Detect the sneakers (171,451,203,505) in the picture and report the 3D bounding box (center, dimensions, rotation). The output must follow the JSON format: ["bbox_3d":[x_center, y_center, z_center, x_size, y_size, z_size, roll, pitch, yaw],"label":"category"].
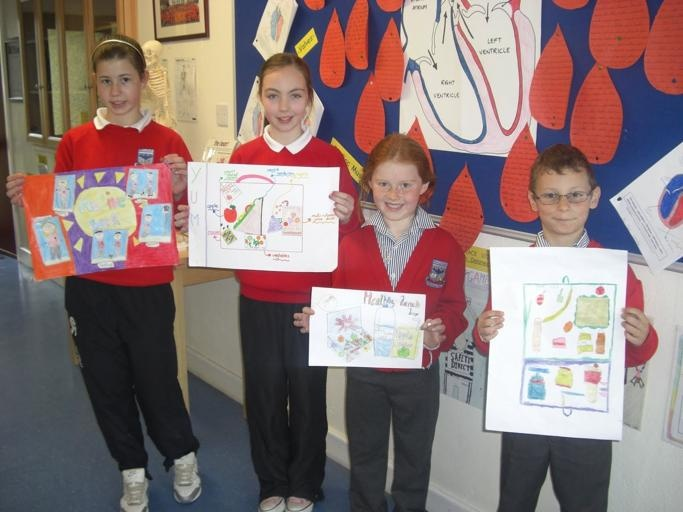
[{"bbox_3d":[-0.698,1.001,2.562,0.090,0.112,0.243,-4,20,-14],"label":"sneakers"}]

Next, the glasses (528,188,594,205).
[{"bbox_3d":[0.700,-0.185,1.817,0.170,0.049,0.048,7,16,18],"label":"glasses"}]

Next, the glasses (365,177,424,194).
[{"bbox_3d":[0.211,-0.251,2.078,0.208,0.060,0.118,-1,16,-9],"label":"glasses"}]

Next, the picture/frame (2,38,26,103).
[{"bbox_3d":[-3.257,-1.866,5.670,0.043,0.663,0.551,-6,19,-32],"label":"picture/frame"}]
